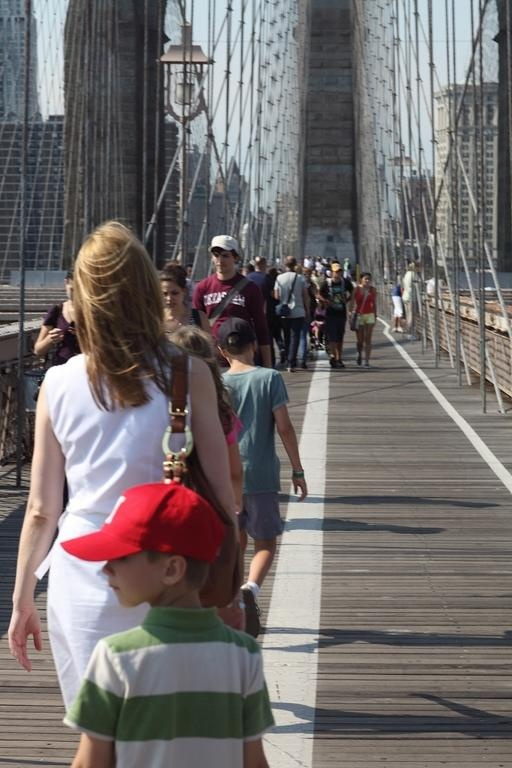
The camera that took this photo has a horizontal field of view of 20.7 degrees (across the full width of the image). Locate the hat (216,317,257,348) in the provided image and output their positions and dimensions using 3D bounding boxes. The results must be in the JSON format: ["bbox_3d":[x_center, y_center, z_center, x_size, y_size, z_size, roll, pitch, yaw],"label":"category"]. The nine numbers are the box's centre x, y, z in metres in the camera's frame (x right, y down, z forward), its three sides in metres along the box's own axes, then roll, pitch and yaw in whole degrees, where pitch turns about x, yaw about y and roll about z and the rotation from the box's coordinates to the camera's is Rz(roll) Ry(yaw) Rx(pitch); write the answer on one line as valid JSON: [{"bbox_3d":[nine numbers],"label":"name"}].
[{"bbox_3d":[-0.066,-0.170,4.875,0.085,0.074,0.125,-5,16,3],"label":"hat"}]

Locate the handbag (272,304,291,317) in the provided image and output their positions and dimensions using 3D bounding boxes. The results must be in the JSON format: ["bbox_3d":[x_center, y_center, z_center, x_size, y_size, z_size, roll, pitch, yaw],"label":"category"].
[{"bbox_3d":[0.327,-0.826,15.985,0.117,0.156,0.157,0,1,-4],"label":"handbag"}]

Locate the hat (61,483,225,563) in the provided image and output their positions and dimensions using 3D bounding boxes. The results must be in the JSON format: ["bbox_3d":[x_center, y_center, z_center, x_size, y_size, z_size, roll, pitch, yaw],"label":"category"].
[{"bbox_3d":[-0.190,0.231,2.276,0.203,0.114,0.125,5,12,2],"label":"hat"}]

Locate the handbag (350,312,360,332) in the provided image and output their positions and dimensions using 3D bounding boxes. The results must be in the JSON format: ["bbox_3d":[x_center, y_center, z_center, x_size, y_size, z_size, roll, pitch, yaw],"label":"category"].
[{"bbox_3d":[1.280,-0.758,17.424,0.067,0.196,0.147,7,1,-25],"label":"handbag"}]
